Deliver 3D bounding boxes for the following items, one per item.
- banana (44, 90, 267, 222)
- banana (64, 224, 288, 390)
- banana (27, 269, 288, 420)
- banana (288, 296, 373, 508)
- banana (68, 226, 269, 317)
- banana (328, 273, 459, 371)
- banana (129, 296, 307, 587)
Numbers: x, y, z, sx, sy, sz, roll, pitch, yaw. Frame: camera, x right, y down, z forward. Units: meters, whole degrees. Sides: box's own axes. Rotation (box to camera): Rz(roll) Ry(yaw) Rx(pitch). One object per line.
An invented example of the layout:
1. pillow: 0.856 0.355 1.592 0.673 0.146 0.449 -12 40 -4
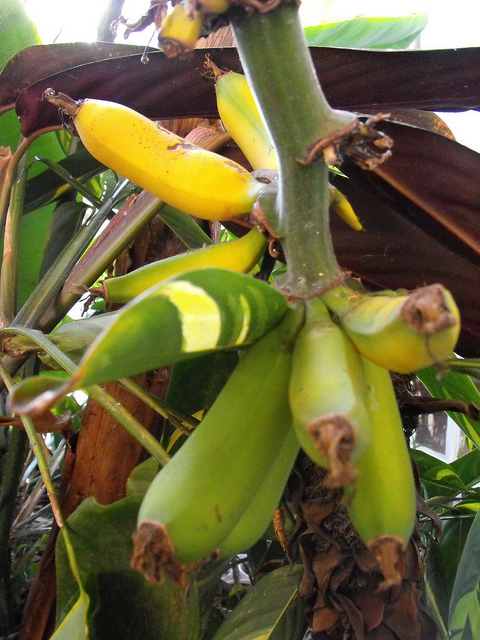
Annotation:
1. banana: -0.107 -0.139 0.566 0.270 0.065 0.080 26 27 11
2. banana: -0.043 -0.003 0.400 0.089 0.088 0.258 -7 -2 17
3. banana: -0.029 -0.002 0.359 0.060 0.051 0.201 -44 -14 28
4. banana: 0.046 0.044 0.363 0.042 0.138 0.042 -6 -40 5
5. banana: -0.060 -0.036 0.514 0.186 0.053 0.035 -9 -9 20
6. banana: 0.092 0.001 0.394 0.048 0.034 0.122 -21 2 -5
7. banana: -0.002 0.066 0.428 0.065 0.225 0.076 20 -23 31
